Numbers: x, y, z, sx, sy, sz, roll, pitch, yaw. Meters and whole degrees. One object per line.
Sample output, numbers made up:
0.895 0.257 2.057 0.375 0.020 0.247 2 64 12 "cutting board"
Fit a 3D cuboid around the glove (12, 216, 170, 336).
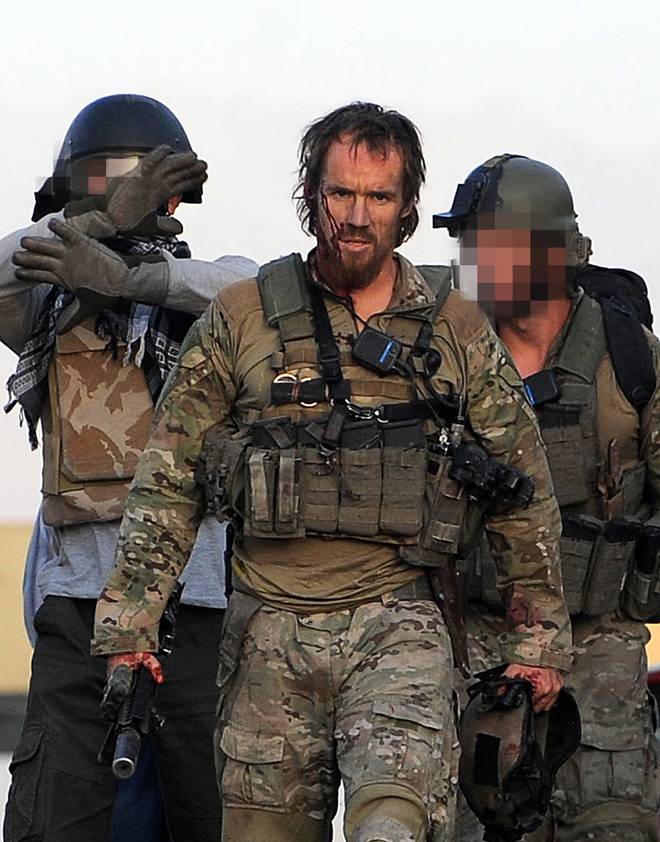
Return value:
-0.757 -0.478 3.898 0.476 0.288 0.154 -7 -8 -14 "glove"
